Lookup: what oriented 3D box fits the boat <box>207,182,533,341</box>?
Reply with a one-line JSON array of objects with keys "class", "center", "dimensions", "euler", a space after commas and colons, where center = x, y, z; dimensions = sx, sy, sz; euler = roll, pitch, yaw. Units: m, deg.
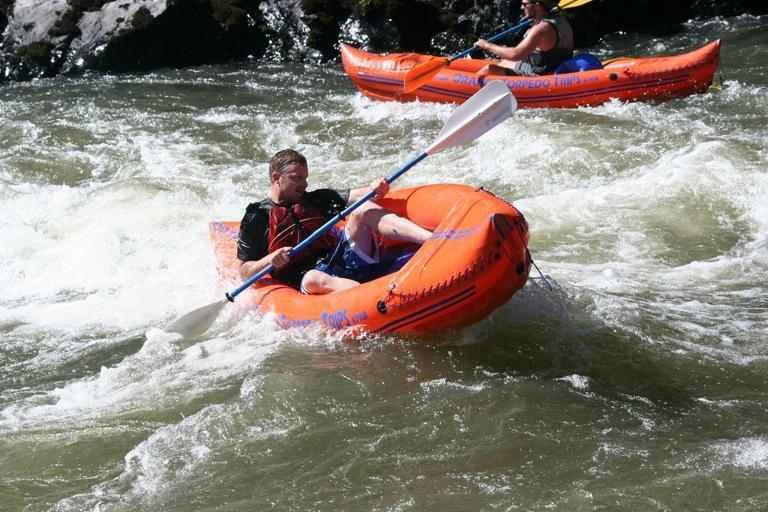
[{"class": "boat", "center": [-0.075, 0.109, 8.974], "dimensions": [3.483, 1.062, 2.200], "euler": [-7, 27, 38]}]
